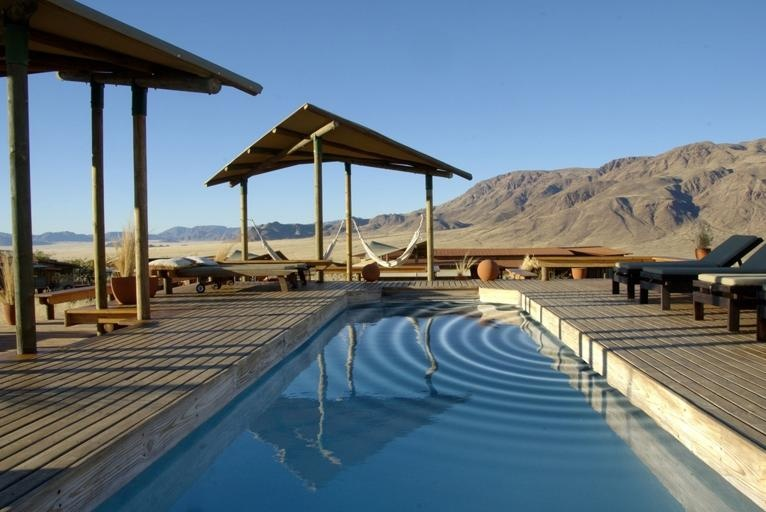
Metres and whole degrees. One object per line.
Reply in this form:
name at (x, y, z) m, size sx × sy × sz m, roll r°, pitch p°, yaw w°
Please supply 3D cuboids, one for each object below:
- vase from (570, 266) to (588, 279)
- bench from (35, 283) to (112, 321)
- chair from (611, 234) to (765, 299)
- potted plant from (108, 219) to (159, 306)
vase at (4.645, 0.409, 10.942) m, size 0.411 × 0.207 × 0.369 m, roll -2°, pitch -1°, yaw 29°
bench at (-4.276, 0.638, 6.291) m, size 0.604 × 0.462 × 1.054 m, roll -8°, pitch 11°, yaw -22°
chair at (4.621, 0.128, 6.875) m, size 2.385 × 0.817 × 1.064 m, roll 0°, pitch -1°, yaw 5°
potted plant at (-3.697, 0.165, 6.752) m, size 0.585 × 1.216 × 1.372 m, roll -11°, pitch 13°, yaw -25°
